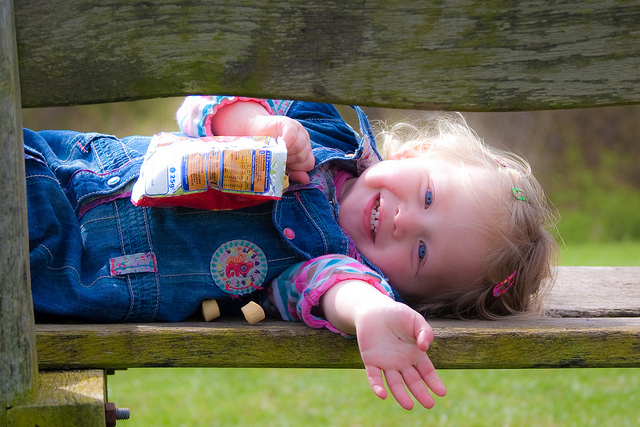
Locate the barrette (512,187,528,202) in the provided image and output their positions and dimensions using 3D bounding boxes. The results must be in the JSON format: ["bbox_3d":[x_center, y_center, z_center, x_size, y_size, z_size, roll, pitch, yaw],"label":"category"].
[{"bbox_3d":[0.579,-0.053,2.230,0.042,0.038,0.012,8,-15,-18],"label":"barrette"}]

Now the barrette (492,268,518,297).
[{"bbox_3d":[0.520,0.194,2.249,0.083,0.020,0.061,-35,-31,-8],"label":"barrette"}]
